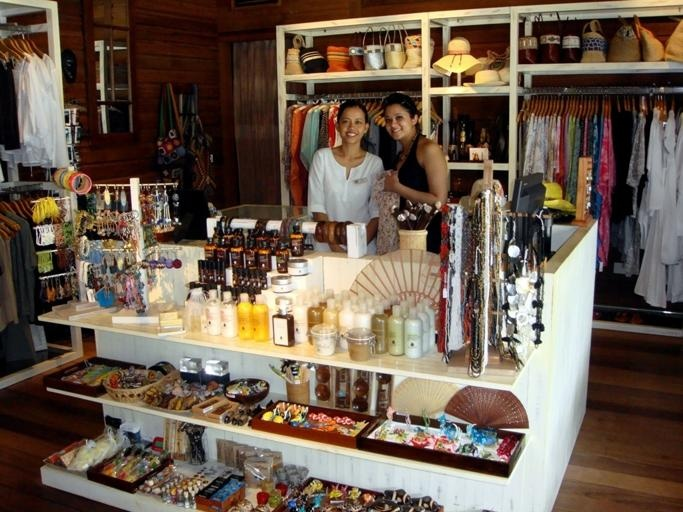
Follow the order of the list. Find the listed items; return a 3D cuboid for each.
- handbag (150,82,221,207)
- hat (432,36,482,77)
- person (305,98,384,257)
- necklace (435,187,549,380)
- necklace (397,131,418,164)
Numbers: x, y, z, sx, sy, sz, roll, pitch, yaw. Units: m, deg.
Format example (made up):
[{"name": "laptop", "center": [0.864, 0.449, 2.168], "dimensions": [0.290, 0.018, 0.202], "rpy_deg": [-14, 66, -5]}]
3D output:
[{"name": "handbag", "center": [-1.727, -1.287, 6.010], "dimensions": [0.388, 1.242, 0.695], "rpy_deg": [5, 16, 24]}, {"name": "hat", "center": [0.999, -1.720, 4.778], "dimensions": [0.383, 0.256, 0.358], "rpy_deg": [9, 17, 33]}, {"name": "person", "center": [0.012, -0.253, 3.893], "dimensions": [0.544, 1.617, 0.521], "rpy_deg": [4, 20, 2]}, {"name": "necklace", "center": [0.630, 0.086, 2.226], "dimensions": [0.517, 0.749, 0.270], "rpy_deg": [-10, 16, -28]}, {"name": "necklace", "center": [0.457, -0.749, 3.749], "dimensions": [0.049, 0.208, 0.151], "rpy_deg": [2, 12, -41]}]
